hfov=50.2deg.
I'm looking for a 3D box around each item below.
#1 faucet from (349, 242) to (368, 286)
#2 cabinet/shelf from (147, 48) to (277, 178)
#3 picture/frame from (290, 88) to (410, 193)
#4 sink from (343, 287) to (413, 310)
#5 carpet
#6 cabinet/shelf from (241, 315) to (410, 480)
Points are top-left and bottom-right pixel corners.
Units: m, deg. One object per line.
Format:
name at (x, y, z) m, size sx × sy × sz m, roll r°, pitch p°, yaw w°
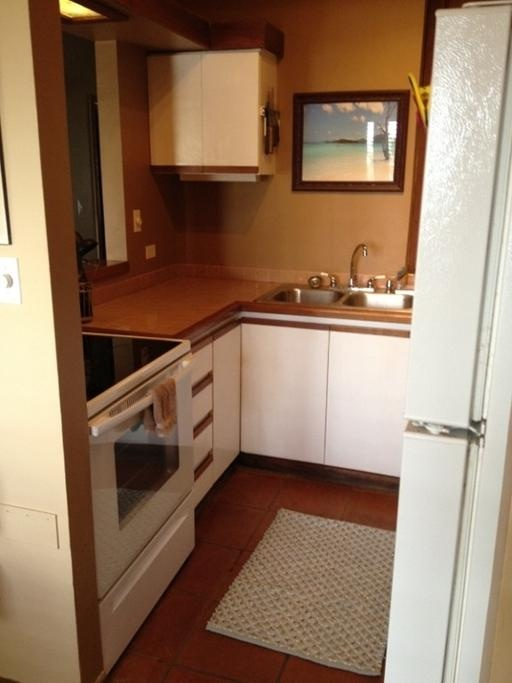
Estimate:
faucet at (0.567, -0.424, 3.025) m, size 0.100 × 0.236 × 0.154 m, roll 2°, pitch 12°, yaw 10°
cabinet/shelf at (-0.230, -1.199, 2.985) m, size 0.595 × 0.651 × 0.466 m, roll 3°, pitch 8°, yaw 17°
picture/frame at (0.525, -1.089, 2.909) m, size 0.464 × 0.472 × 0.020 m, roll 4°, pitch 15°, yaw 18°
sink at (0.645, -0.229, 2.899) m, size 0.346 × 0.108 × 0.166 m, roll 4°, pitch 13°, yaw 13°
carpet at (0.151, 0.873, 1.882) m, size 0.405 × 0.032 × 0.614 m, roll 7°, pitch 19°, yaw 14°
cabinet/shelf at (0.366, 0.244, 2.745) m, size 0.695 × 0.736 × 0.274 m, roll 5°, pitch 15°, yaw 16°
